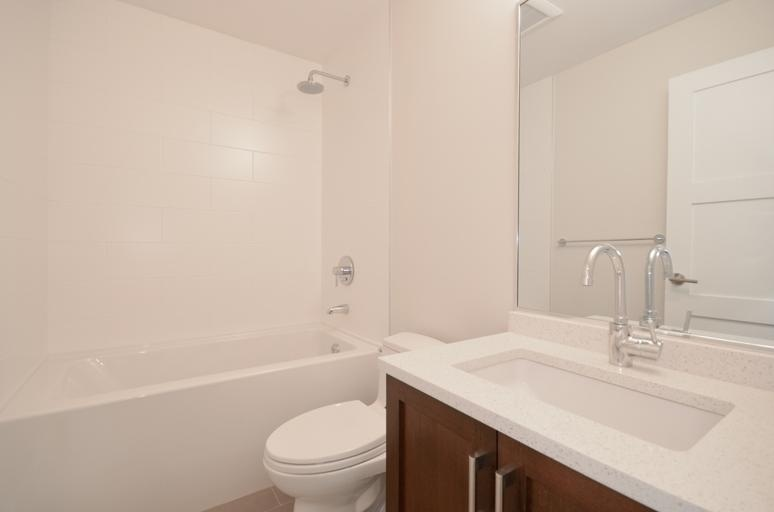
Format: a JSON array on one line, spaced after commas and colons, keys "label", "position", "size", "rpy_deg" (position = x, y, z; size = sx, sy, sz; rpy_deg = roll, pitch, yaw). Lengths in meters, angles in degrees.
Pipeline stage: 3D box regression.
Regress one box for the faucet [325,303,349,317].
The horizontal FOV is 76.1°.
[{"label": "faucet", "position": [-0.348, 0.373, 3.436], "size": [0.141, 0.079, 0.080], "rpy_deg": [1, 0, -38]}]
